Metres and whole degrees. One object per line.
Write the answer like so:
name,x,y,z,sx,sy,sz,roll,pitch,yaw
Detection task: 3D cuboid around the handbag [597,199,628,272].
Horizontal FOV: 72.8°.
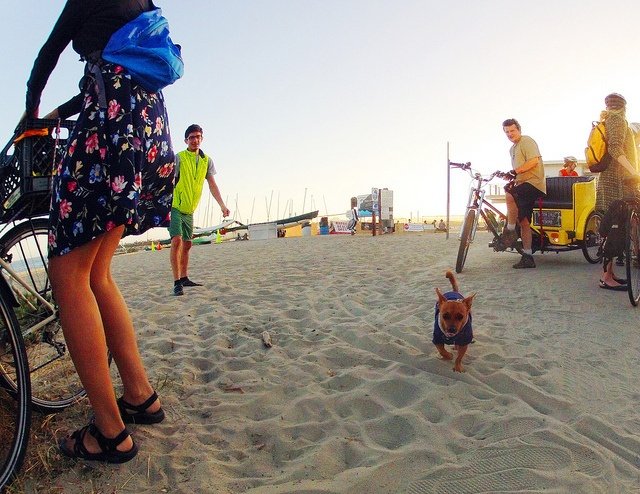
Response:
handbag,3.335,-0.147,4.970,0.229,0.691,0.270,6,8,29

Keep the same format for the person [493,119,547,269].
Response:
person,3.251,-0.818,6.959,0.661,2.355,0.481,3,10,28

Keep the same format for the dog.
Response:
dog,1.185,0.681,3.879,0.378,0.615,0.899,2,10,19

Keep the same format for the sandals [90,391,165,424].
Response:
sandals,-1.161,0.989,2.662,0.340,0.158,0.138,8,-10,-9

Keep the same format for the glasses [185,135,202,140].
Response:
glasses,-1.773,-1.558,6.194,0.253,0.060,0.094,2,10,19

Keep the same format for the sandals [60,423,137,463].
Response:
sandals,-1.191,1.087,2.403,0.443,0.208,0.164,-1,4,3

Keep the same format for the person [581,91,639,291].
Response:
person,3.602,-0.567,5.349,0.557,2.252,0.682,6,12,17

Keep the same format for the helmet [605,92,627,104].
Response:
helmet,3.582,-1.785,5.250,0.191,0.112,0.223,5,12,32

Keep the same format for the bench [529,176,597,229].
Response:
bench,4.060,-0.774,7.330,0.735,1.120,0.981,2,-2,-31
